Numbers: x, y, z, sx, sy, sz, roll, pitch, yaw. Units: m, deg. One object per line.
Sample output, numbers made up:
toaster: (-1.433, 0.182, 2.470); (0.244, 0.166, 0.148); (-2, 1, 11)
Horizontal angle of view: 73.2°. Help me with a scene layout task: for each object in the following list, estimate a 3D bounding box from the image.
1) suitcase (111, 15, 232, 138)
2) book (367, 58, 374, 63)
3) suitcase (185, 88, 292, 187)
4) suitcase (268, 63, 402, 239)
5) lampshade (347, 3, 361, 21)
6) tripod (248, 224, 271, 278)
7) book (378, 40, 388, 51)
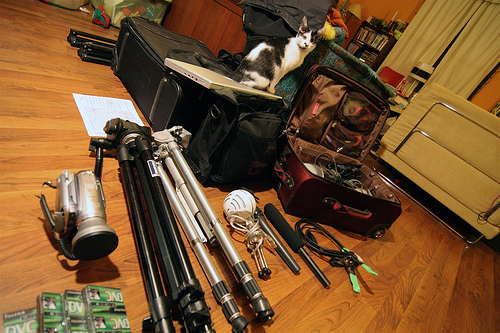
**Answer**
suitcase: (-0.546, -0.691, 2.794); (0.936, 0.461, 1.426); (6, 35, -41)
book: (1.939, -1.705, 5.382); (0.023, 0.078, 0.107); (-14, 30, -39)
suitcase: (-0.106, -0.194, 2.277); (0.577, 0.545, 0.360); (3, 24, -45)
suitcase: (0.710, -0.160, 2.491); (0.957, 1.038, 0.848); (21, 17, -7)
lampshade: (1.680, -2.451, 5.326); (0.258, 0.232, 0.310); (23, 32, 9)
tripod: (0.061, 0.537, 2.020); (0.055, 0.033, 0.243); (-12, 52, -7)
book: (2.072, -1.865, 5.205); (0.028, 0.196, 0.034); (28, 19, 2)
